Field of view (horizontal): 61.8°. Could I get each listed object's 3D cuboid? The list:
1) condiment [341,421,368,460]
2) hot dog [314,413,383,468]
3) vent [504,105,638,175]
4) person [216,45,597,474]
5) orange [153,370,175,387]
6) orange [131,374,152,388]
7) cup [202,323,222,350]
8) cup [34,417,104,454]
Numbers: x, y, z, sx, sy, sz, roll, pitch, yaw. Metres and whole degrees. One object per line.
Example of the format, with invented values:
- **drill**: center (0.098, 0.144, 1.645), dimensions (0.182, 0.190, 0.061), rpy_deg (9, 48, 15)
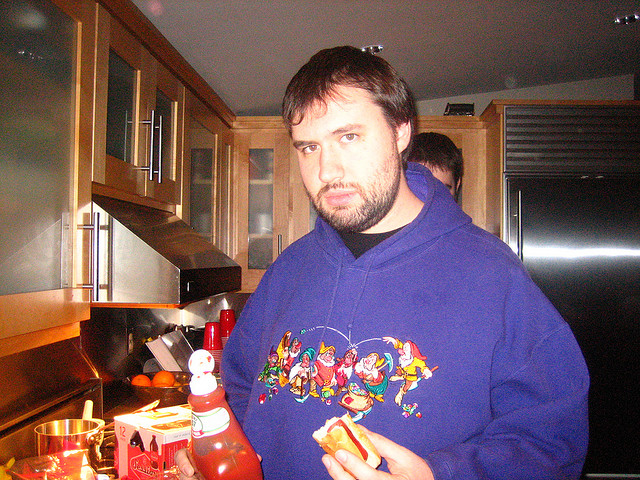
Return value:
- **condiment**: center (0.073, 0.413, 1.097), dimensions (0.013, 0.108, 0.019), rpy_deg (-41, -13, 12)
- **hot dog**: center (0.062, 0.424, 1.138), dimensions (0.098, 0.128, 0.047), rpy_deg (-43, -19, 1)
- **vent**: center (1.357, -0.550, 3.040), dimensions (0.851, 0.341, 0.404), rpy_deg (4, 6, 2)
- **person**: center (0.163, 0.029, 1.326), dimensions (0.857, 1.048, 0.444), rpy_deg (0, -6, -3)
- **orange**: center (-0.629, 0.554, 2.147), dimensions (0.065, 0.061, 0.059), rpy_deg (3, -42, -8)
- **orange**: center (-0.705, 0.556, 2.114), dimensions (0.050, 0.054, 0.047), rpy_deg (3, -26, -19)
- **cup**: center (-0.568, 0.534, 2.923), dimensions (0.137, 0.140, 0.130), rpy_deg (0, -10, 0)
- **cup**: center (-0.754, 0.589, 1.615), dimensions (0.189, 0.063, 0.153), rpy_deg (1, -5, -21)
